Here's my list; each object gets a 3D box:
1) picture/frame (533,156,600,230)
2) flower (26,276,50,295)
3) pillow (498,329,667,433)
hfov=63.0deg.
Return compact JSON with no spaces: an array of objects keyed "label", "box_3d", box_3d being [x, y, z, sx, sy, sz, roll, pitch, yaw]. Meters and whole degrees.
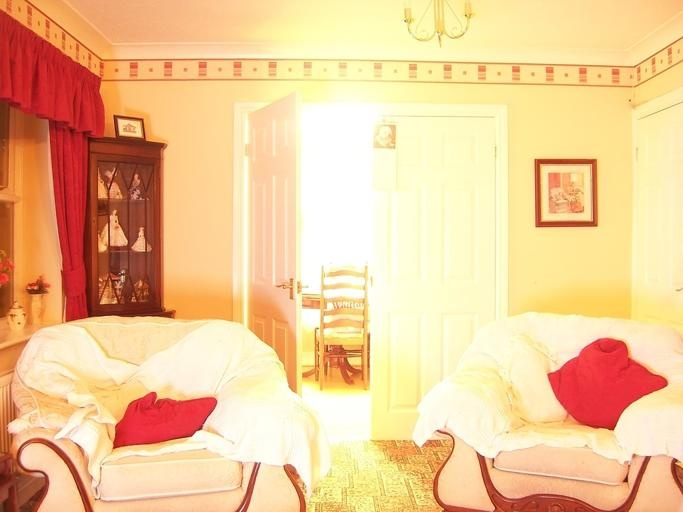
[{"label":"picture/frame","box_3d":[1.893,-0.521,4.700,0.509,0.645,0.040,0,-2,-2]},{"label":"flower","box_3d":[-2.167,0.228,3.977,0.135,0.112,0.146,2,-6,-3]},{"label":"pillow","box_3d":[1.501,0.711,3.518,0.625,0.657,0.131,-31,-22,29]}]
